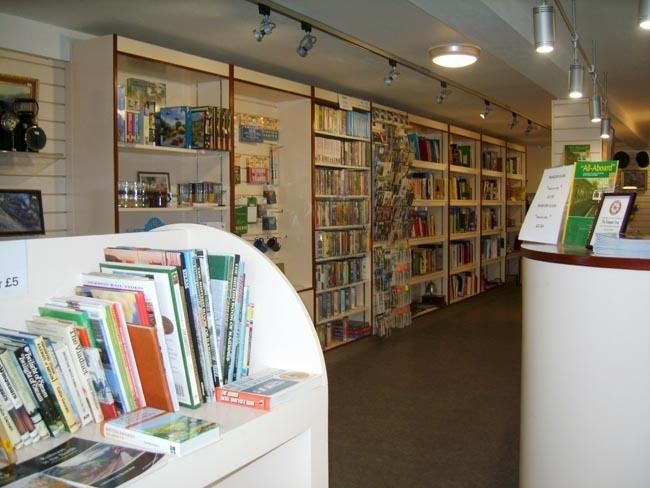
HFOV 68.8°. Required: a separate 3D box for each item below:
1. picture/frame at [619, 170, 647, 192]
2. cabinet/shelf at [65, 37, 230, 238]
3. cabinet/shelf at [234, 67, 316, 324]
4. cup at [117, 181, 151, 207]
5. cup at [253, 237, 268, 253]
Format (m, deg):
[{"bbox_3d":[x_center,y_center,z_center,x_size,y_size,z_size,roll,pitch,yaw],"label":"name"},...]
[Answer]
[{"bbox_3d":[7.299,-1.501,11.184,0.585,0.568,0.493,3,6,33],"label":"picture/frame"},{"bbox_3d":[-1.650,-1.033,5.067,1.549,0.766,2.735,14,-2,-4],"label":"cabinet/shelf"},{"bbox_3d":[-0.447,-0.449,6.021,0.531,2.893,1.194,-3,17,-2],"label":"cabinet/shelf"},{"bbox_3d":[-1.544,-0.391,3.798,0.176,0.168,0.183,0,5,0],"label":"cup"},{"bbox_3d":[-0.620,0.012,4.475,0.096,0.149,0.141,2,-12,4],"label":"cup"}]
